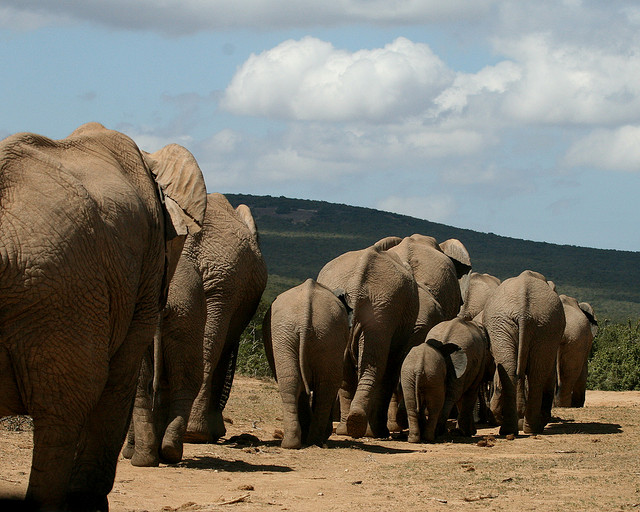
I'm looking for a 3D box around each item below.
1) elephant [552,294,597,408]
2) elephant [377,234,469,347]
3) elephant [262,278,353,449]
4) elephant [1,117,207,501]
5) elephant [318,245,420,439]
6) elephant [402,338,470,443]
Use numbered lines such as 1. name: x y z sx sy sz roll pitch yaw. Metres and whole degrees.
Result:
1. elephant: 4.286 1.599 19.529 0.970 1.817 2.856 8 5 15
2. elephant: 1.669 0.589 17.335 1.255 1.848 2.810 8 2 -7
3. elephant: -0.074 1.176 13.238 1.282 2.043 3.174 1 0 4
4. elephant: -1.540 0.247 8.134 1.347 2.195 3.342 1 3 10
5. elephant: 0.728 0.908 14.571 1.429 2.271 3.400 6 1 12
6. elephant: 1.413 1.659 13.922 0.673 1.154 1.875 1 0 15
